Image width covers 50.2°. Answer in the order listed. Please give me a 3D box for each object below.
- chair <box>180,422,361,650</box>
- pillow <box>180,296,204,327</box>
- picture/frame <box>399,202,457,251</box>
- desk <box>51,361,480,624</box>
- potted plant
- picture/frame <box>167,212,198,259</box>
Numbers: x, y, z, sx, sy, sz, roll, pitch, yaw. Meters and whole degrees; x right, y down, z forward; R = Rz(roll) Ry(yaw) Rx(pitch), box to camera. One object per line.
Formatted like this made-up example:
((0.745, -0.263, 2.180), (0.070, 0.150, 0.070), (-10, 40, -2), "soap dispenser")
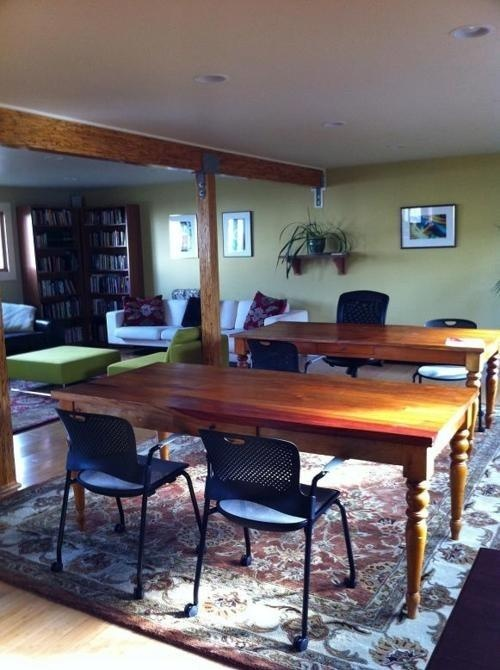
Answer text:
((0.054, 0.663, 1.984), (0.525, 0.720, 0.449), (2, 8, 32), "chair")
((-0.816, -0.330, 7.482), (0.471, 0.431, 0.173), (-4, -25, 33), "pillow")
((2.170, -1.319, 6.405), (0.678, 0.493, 0.032), (3, 8, 33), "picture/frame")
((0.334, 0.287, 2.378), (1.905, 0.774, 0.904), (5, 11, 30), "desk")
((0.897, -1.162, 7.215), (1.019, 0.699, 1.105), (-2, -3, -2), "potted plant")
((-1.013, -1.553, 8.187), (0.790, 0.871, 0.072), (4, 9, 33), "picture/frame")
